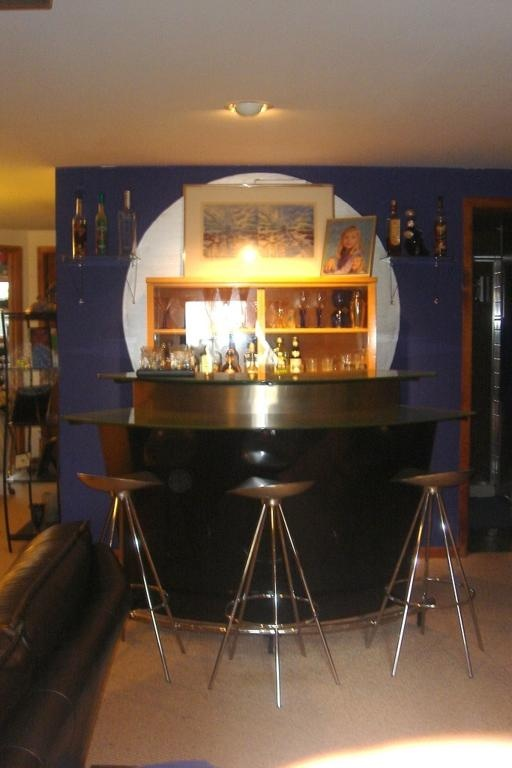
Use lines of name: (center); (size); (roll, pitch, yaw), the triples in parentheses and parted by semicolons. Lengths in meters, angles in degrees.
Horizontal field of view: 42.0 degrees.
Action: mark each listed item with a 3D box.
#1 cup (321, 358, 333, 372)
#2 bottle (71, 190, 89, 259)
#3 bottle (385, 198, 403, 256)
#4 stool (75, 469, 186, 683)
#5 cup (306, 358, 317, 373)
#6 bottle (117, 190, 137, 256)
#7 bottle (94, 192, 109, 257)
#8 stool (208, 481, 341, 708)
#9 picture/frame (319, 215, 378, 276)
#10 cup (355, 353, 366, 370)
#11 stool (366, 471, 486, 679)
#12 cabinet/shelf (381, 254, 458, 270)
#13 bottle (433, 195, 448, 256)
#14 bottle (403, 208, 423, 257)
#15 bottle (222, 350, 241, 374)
cup: (0.446, -0.118, 4.260); (0.089, 0.104, 0.089); (1, 4, 0)
bottle: (-1.138, -1.014, 4.307); (0.106, 0.454, 0.222); (-1, 2, -16)
bottle: (0.896, -1.020, 4.371); (0.091, 0.394, 0.321); (0, 2, 12)
stool: (-0.505, 0.834, 2.929); (0.341, 0.927, 0.397); (-23, -5, 42)
cup: (0.358, -0.114, 4.351); (0.086, 0.102, 0.087); (2, 1, 0)
bottle: (-0.828, -1.027, 4.292); (0.116, 0.473, 0.261); (-1, 2, -11)
bottle: (-1.006, -1.029, 4.341); (0.079, 0.419, 0.151); (-1, 2, -15)
stool: (0.075, 0.791, 2.817); (0.524, 0.862, 0.693); (0, 2, 3)
picture/frame: (0.585, -0.884, 4.290); (0.384, 0.458, 0.061); (6, 1, 33)
cup: (0.648, -0.145, 4.264); (0.082, 0.105, 0.077); (0, 2, 0)
stool: (0.782, 0.837, 3.080); (0.551, 0.899, 0.580); (7, 2, 29)
cabinet/shelf: (1.063, -0.823, 4.374); (0.518, 0.085, 0.238); (0, 2, -1)
bottle: (1.195, -1.015, 4.360); (0.078, 0.415, 0.245); (0, 2, 15)
bottle: (1.019, -0.977, 4.385); (0.135, 0.289, 0.208); (0, 2, 12)
bottle: (-0.163, -0.155, 4.301); (0.121, 0.145, 0.066); (0, 2, -3)
